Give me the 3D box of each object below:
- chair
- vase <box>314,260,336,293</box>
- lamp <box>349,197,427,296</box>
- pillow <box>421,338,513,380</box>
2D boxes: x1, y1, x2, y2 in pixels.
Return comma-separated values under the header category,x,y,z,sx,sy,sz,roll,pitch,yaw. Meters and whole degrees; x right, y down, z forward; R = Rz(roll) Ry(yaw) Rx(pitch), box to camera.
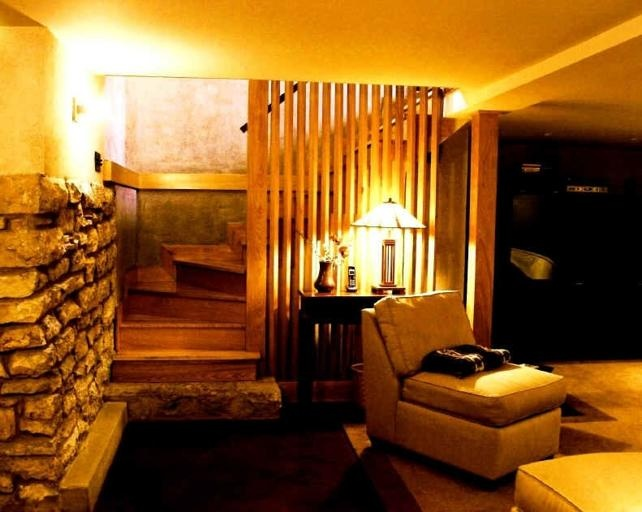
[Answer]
category,x,y,z,sx,sy,sz,roll,pitch,yaw
chair,0.970,0.806,3.745,0.886,1.011,1.147,-1,1,-37
vase,0.041,0.164,4.605,0.183,0.275,0.165,-2,6,-18
lamp,0.587,-0.098,4.706,0.611,0.802,0.557,1,6,5
pillow,0.966,0.675,3.549,0.334,0.101,0.262,-6,5,-21
